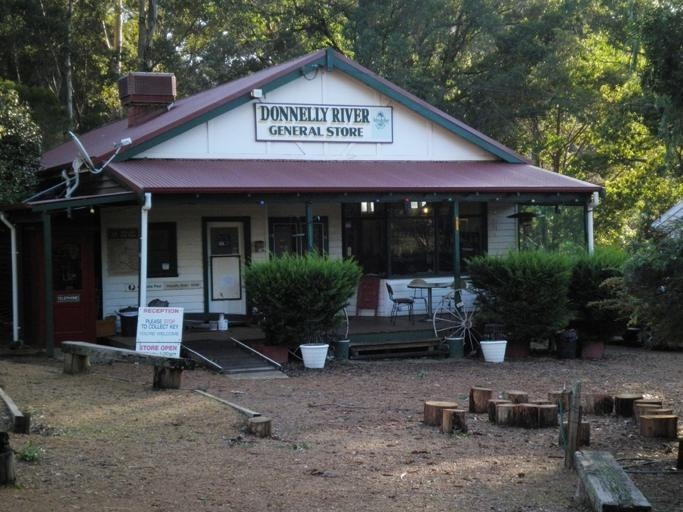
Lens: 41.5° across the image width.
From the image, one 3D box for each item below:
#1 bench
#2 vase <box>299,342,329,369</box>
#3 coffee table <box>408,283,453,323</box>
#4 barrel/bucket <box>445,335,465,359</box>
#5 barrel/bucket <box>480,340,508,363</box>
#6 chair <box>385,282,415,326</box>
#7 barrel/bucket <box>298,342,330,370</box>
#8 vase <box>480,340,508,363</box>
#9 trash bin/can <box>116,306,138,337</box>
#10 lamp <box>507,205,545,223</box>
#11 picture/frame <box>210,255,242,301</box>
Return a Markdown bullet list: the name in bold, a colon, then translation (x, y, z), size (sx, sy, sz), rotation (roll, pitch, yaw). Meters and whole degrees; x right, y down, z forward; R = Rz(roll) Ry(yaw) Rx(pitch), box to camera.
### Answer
- **bench**: translation (-3.979, 2.018, 16.514), size (2.606, 0.973, 0.727), rotation (-7, -7, 30)
- **vase**: translation (-0.563, 2.101, 18.791), size (0.505, 0.376, 0.509), rotation (0, -5, -3)
- **coffee table**: translation (2.053, 1.064, 21.239), size (0.956, 0.708, 0.961), rotation (-1, 1, -10)
- **barrel/bucket**: translation (2.633, 2.102, 20.507), size (0.406, 0.496, 0.230), rotation (-2, -6, -11)
- **barrel/bucket**: translation (3.423, 2.122, 19.978), size (0.500, 0.372, 0.501), rotation (0, -3, 0)
- **chair**: translation (1.470, 1.161, 21.929), size (0.648, 0.843, 0.609), rotation (3, 1, -11)
- **barrel/bucket**: translation (-0.561, 2.116, 18.792), size (0.513, 0.379, 0.516), rotation (0, -4, 0)
- **vase**: translation (3.417, 2.137, 20.014), size (0.498, 0.370, 0.499), rotation (3, -4, -41)
- **trash bin/can**: translation (-4.956, 1.542, 20.705), size (0.379, 0.582, 0.654), rotation (2, 1, 24)
- **lamp**: translation (5.705, -1.281, 27.574), size (1.313, 0.482, 1.319), rotation (1, -1, 25)
- **picture/frame**: translation (-2.893, 0.567, 22.435), size (0.788, 1.109, 0.231), rotation (-3, -6, -8)
